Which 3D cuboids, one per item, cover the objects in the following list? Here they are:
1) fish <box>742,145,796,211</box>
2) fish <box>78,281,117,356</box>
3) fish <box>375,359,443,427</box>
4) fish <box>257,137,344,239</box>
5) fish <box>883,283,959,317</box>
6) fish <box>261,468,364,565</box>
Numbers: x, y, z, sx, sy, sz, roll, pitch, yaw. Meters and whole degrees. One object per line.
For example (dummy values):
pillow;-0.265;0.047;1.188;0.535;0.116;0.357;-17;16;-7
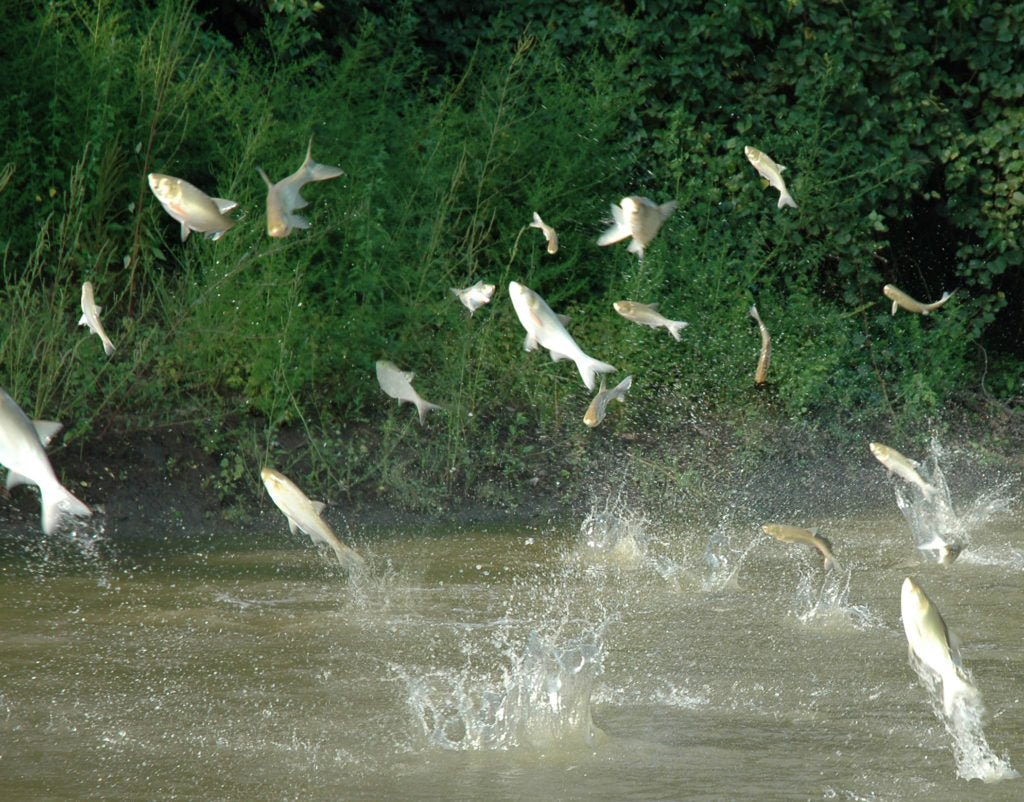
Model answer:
fish;2.310;-2.005;19.004;0.100;0.743;0.320;-1;63;37
fish;-3.380;-0.655;17.110;0.174;0.287;0.575;-15;75;-7
fish;-0.891;-0.053;17.891;0.630;0.355;0.139;37;24;10
fish;-1.753;-1.726;17.312;0.456;0.492;0.972;11;67;20
fish;3.835;-0.941;19.709;0.487;0.181;0.267;22;29;20
fish;-1.334;0.743;14.079;0.581;0.670;0.299;12;34;20
